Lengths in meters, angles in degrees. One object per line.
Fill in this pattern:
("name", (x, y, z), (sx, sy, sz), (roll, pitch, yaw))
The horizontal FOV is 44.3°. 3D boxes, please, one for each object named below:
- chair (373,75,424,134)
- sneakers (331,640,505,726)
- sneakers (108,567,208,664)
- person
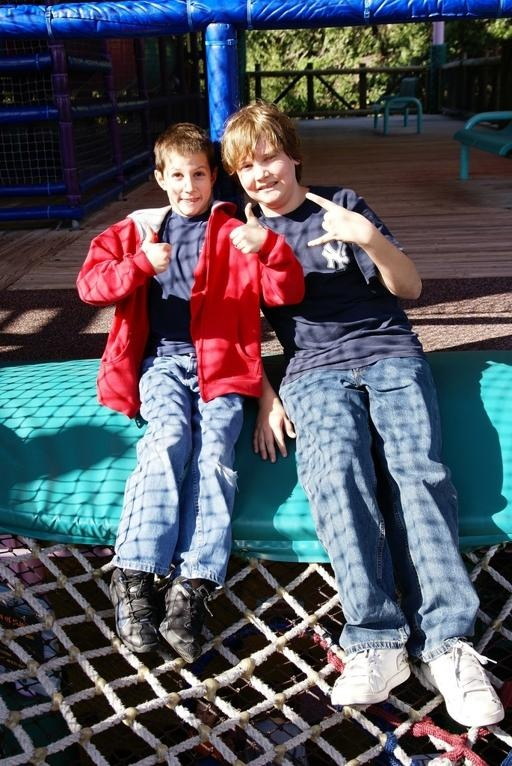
("chair", (2.560, -4.846, 10.981), (0.699, 0.731, 0.964), (3, 32, 8))
("sneakers", (0.248, 0.433, 0.986), (0.149, 0.078, 0.226), (11, -19, -39))
("sneakers", (-0.168, 0.403, 1.096), (0.140, 0.060, 0.182), (11, 27, -27))
("person", (0.004, -0.141, 1.511), (0.568, 0.608, 1.691), (-9, 51, 7))
